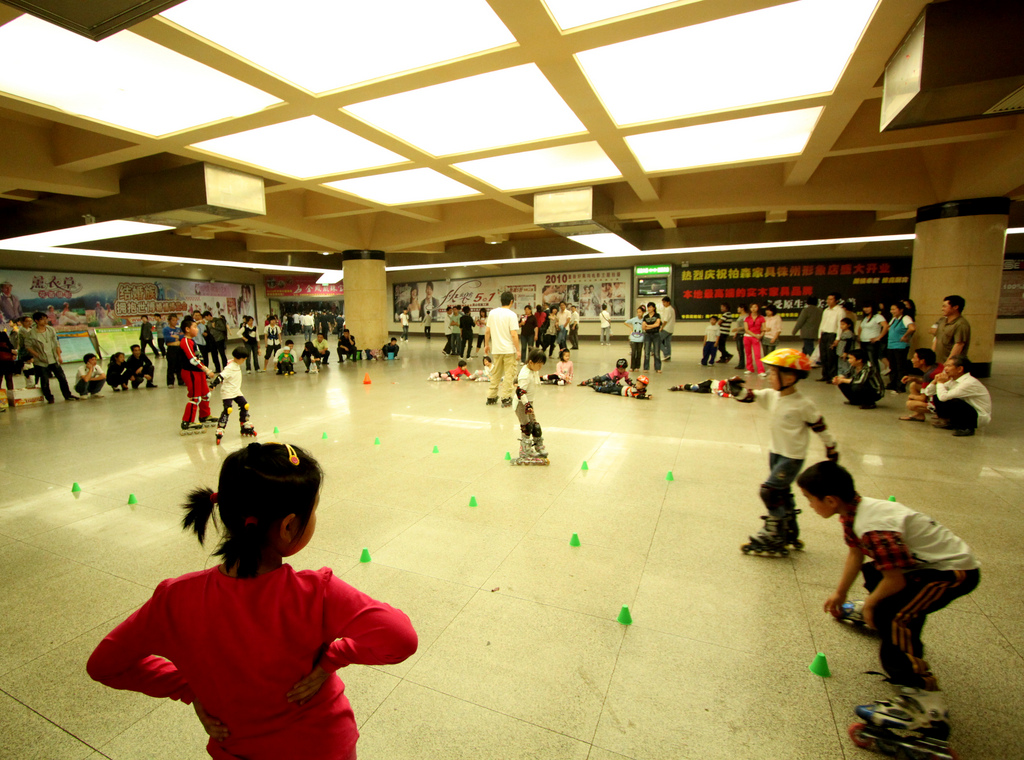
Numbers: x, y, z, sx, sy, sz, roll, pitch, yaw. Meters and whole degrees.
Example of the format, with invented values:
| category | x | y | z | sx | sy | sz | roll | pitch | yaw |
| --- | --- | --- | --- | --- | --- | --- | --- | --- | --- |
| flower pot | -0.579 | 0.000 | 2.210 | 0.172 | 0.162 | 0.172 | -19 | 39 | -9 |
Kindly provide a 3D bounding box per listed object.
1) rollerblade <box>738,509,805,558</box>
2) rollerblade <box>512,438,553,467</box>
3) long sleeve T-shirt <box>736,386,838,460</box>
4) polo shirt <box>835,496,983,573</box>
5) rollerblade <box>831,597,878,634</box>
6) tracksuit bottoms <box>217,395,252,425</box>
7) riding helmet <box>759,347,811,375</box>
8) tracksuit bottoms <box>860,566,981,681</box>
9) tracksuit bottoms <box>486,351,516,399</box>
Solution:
| category | x | y | z | sx | sy | sz | roll | pitch | yaw |
| --- | --- | --- | --- | --- | --- | --- | --- | --- | --- |
| rollerblade | 2.167 | 1.284 | 5.242 | 0.370 | 0.339 | 0.180 | 1 | 32 | 11 |
| rollerblade | 0.221 | 0.778 | 7.223 | 0.348 | 0.203 | 0.334 | 0 | 11 | 5 |
| long sleeve T-shirt | 2.306 | 0.357 | 5.251 | 0.721 | 0.553 | 0.351 | 3 | 8 | 29 |
| polo shirt | 2.578 | 1.014 | 4.104 | 0.812 | 0.482 | 0.666 | 0 | 9 | 29 |
| rollerblade | 2.458 | 1.659 | 4.448 | 0.349 | 0.151 | 0.127 | 12 | 28 | 38 |
| tracksuit bottoms | -3.961 | 0.437 | 8.941 | 0.308 | 0.499 | 0.429 | 0 | 4 | 26 |
| riding helmet | 2.225 | -0.158 | 5.131 | 0.354 | 0.166 | 0.256 | 15 | 8 | 21 |
| tracksuit bottoms | 2.579 | 1.517 | 3.937 | 0.551 | 0.694 | 0.267 | -3 | 8 | -17 |
| tracksuit bottoms | -0.183 | -0.120 | 10.316 | 0.476 | 1.017 | 0.328 | 2 | 16 | 14 |
